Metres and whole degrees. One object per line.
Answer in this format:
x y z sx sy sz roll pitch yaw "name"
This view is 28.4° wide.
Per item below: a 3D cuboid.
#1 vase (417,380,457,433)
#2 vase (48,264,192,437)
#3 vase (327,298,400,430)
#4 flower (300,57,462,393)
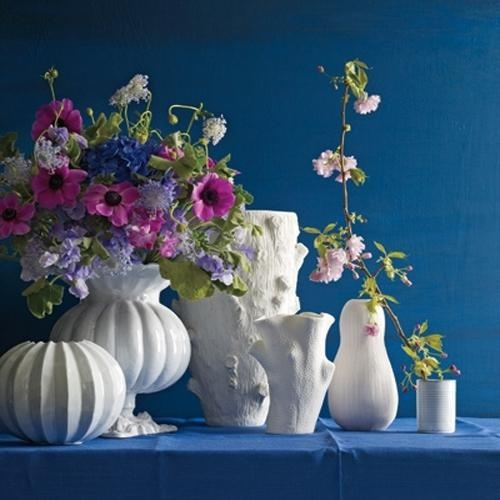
0.370 0.313 1.958 0.089 0.109 0.088 2 -6 -12 "vase"
-0.235 0.233 2.050 0.298 0.363 0.308 0 -15 -7 "vase"
0.237 0.239 2.043 0.142 0.263 0.117 3 2 9 "vase"
0.220 -0.140 2.138 0.195 0.882 0.306 -16 -15 38 "flower"
